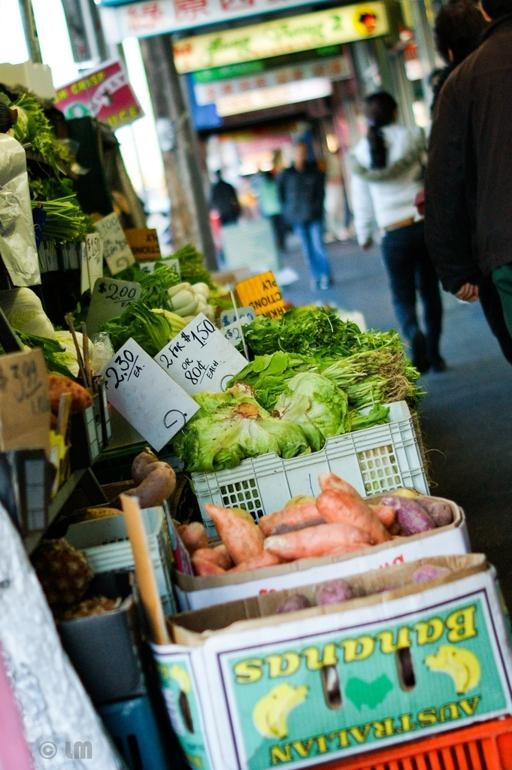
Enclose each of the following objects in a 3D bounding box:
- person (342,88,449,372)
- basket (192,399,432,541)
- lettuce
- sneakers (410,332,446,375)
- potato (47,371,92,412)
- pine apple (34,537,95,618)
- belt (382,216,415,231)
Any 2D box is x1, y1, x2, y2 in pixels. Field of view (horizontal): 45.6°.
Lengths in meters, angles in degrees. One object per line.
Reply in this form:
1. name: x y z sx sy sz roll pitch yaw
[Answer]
1. person: 1.264 -1.490 5.512 0.880 2.706 1.049 -9 12 7
2. basket: 0.123 0.150 1.879 0.698 0.298 0.488 -7 13 -14
3. lettuce: 0.009 0.058 1.990 0.699 0.297 0.514 -11 13 -20
4. sneakers: 1.455 -0.260 5.158 0.143 0.378 0.162 -19 3 -3
5. potato: -0.345 0.008 1.096 0.074 0.066 0.022 21 51 22
6. pine apple: -0.398 0.406 1.325 0.141 0.135 0.124 -25 54 4
7. belt: 1.209 -1.360 5.166 0.257 0.070 0.089 -12 22 13
